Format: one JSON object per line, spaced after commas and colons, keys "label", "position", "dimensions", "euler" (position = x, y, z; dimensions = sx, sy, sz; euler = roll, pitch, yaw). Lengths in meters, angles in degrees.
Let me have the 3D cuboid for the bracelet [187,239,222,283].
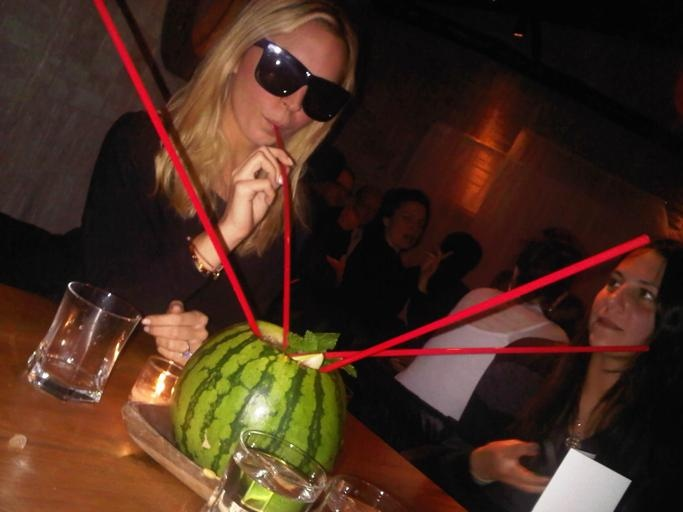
{"label": "bracelet", "position": [-0.462, 0.002, 1.835], "dimensions": [0.117, 0.042, 0.145], "euler": [0, -61, 49]}
